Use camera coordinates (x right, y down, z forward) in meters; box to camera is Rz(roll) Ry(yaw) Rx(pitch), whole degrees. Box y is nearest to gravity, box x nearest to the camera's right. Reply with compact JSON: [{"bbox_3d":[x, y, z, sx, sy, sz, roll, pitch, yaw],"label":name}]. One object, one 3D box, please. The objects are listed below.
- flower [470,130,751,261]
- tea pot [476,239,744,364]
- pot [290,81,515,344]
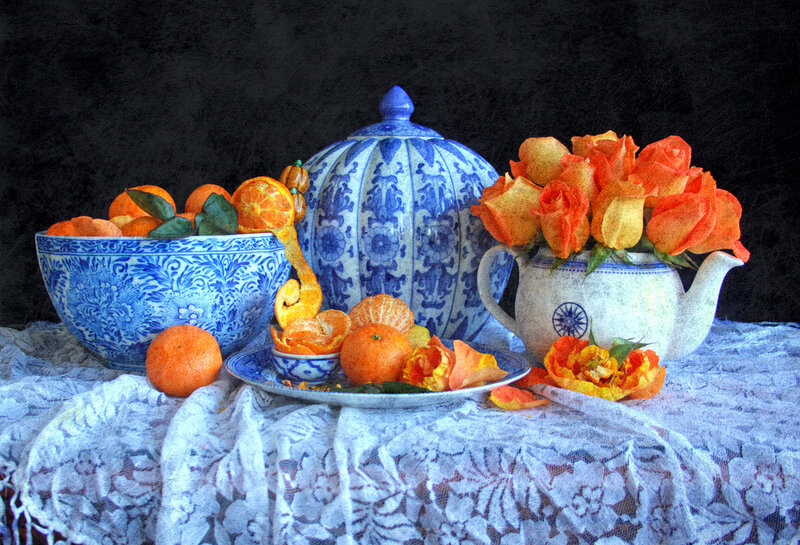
[{"bbox_3d":[0.353,-0.122,1.347,0.313,0.153,0.272,4,3,-2],"label":"flower"},{"bbox_3d":[0.363,0.046,1.372,0.366,0.177,0.212,2,-3,10],"label":"tea pot"},{"bbox_3d":[-0.025,-0.113,1.649,0.416,0.466,0.424,-1,4,0],"label":"pot"}]
